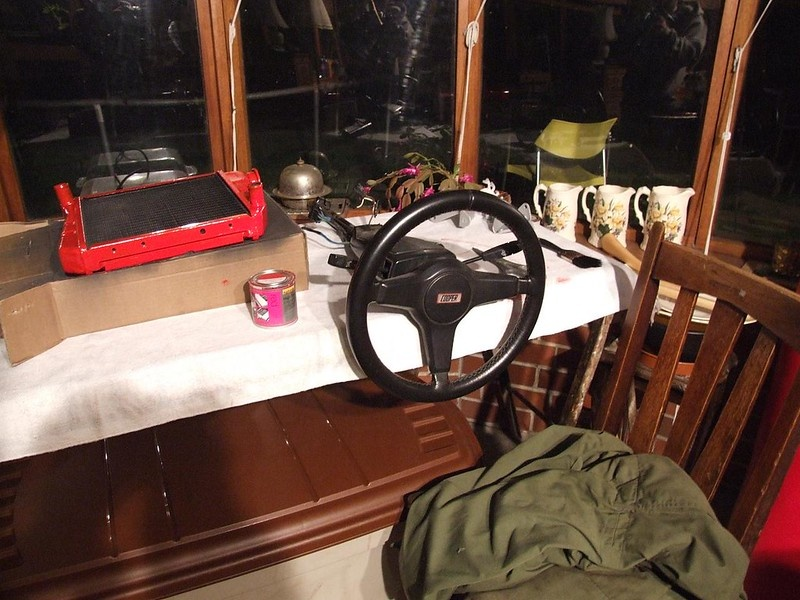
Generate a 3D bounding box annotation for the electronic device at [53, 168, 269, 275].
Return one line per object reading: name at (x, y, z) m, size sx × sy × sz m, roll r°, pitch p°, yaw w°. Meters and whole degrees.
electronic device at (-0.485, -0.138, 1.203) m, size 0.418 × 0.138 × 0.282 m, roll -15°, pitch 37°, yaw -23°

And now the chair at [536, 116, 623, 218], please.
chair at (0.660, -0.540, 2.093) m, size 0.284 × 0.411 × 0.322 m, roll 3°, pitch 37°, yaw 33°

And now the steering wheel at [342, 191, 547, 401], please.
steering wheel at (0.095, 0.001, 1.112) m, size 0.442 × 0.458 × 0.069 m, roll -5°, pitch 22°, yaw -21°

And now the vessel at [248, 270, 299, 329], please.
vessel at (-0.268, -0.003, 1.141) m, size 0.093 × 0.100 × 0.092 m, roll -15°, pitch 29°, yaw -31°
